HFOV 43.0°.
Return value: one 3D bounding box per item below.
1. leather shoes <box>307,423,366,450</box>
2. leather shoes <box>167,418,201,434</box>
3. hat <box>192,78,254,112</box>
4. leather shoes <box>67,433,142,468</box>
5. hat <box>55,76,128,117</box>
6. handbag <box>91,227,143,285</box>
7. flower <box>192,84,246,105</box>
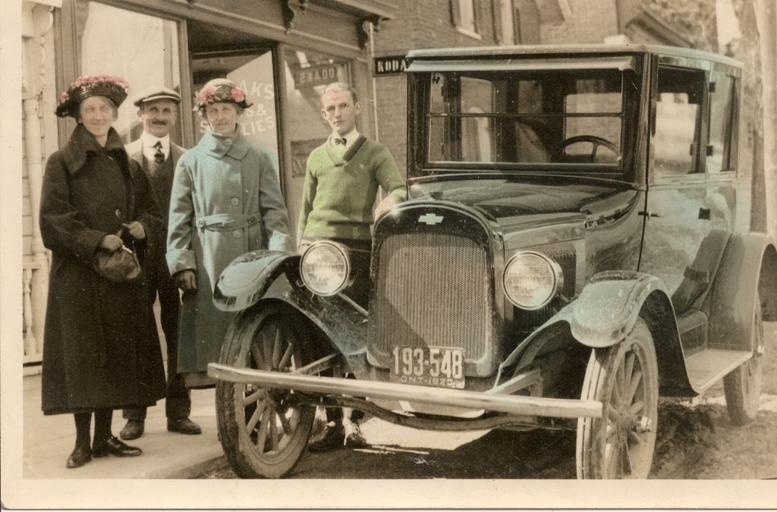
[{"bbox_3d":[-0.443,1.527,8.401,0.347,0.130,0.239,-3,-9,0],"label":"leather shoes"},{"bbox_3d":[-1.790,1.471,8.618,0.295,0.109,0.127,-1,-5,10],"label":"leather shoes"},{"bbox_3d":[-1.376,-1.376,8.386,0.503,0.199,0.491,-5,13,-31],"label":"hat"},{"bbox_3d":[-2.327,1.544,8.043,0.646,0.224,0.206,-5,1,-22],"label":"leather shoes"},{"bbox_3d":[-2.424,-1.251,8.001,0.467,0.152,0.369,-12,7,10],"label":"hat"},{"bbox_3d":[-2.039,-0.027,7.782,0.492,0.287,0.608,1,-7,-23],"label":"handbag"},{"bbox_3d":[-1.419,-1.354,8.365,0.264,0.102,0.254,3,-1,-1],"label":"flower"}]
